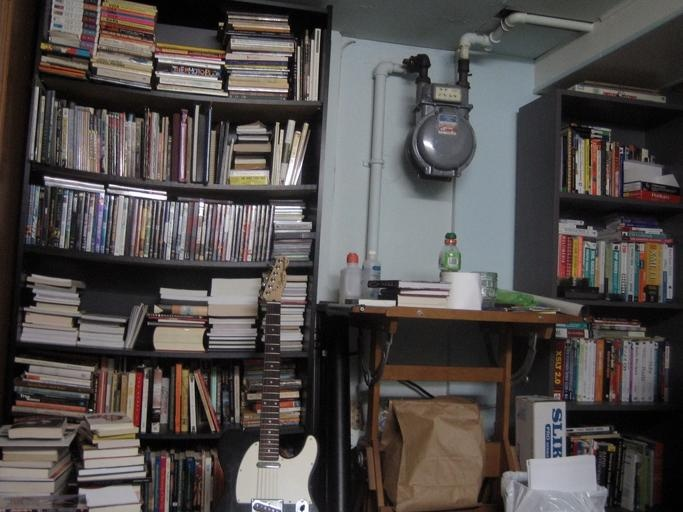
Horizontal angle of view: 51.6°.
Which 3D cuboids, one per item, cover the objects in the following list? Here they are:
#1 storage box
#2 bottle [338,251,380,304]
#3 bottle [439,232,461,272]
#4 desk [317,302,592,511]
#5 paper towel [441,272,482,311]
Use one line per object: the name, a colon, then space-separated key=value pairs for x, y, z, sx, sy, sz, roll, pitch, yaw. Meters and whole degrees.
storage box: x=0.990 y=0.877 z=3.496 sx=0.230 sy=0.345 sz=0.106 roll=1 pitch=-4 yaw=4
bottle: x=0.077 y=0.123 z=3.652 sx=0.273 sy=0.301 sz=0.173 roll=6 pitch=-8 yaw=-25
bottle: x=0.550 y=-0.025 z=3.591 sx=0.097 sy=0.197 sz=0.174 roll=1 pitch=-4 yaw=-1
desk: x=0.442 y=0.759 z=3.634 sx=1.146 sy=1.017 sz=0.932 roll=1 pitch=-4 yaw=-3
paper towel: x=0.589 y=0.168 z=3.462 sx=0.171 sy=0.170 sz=0.170 roll=1 pitch=-1 yaw=-29
